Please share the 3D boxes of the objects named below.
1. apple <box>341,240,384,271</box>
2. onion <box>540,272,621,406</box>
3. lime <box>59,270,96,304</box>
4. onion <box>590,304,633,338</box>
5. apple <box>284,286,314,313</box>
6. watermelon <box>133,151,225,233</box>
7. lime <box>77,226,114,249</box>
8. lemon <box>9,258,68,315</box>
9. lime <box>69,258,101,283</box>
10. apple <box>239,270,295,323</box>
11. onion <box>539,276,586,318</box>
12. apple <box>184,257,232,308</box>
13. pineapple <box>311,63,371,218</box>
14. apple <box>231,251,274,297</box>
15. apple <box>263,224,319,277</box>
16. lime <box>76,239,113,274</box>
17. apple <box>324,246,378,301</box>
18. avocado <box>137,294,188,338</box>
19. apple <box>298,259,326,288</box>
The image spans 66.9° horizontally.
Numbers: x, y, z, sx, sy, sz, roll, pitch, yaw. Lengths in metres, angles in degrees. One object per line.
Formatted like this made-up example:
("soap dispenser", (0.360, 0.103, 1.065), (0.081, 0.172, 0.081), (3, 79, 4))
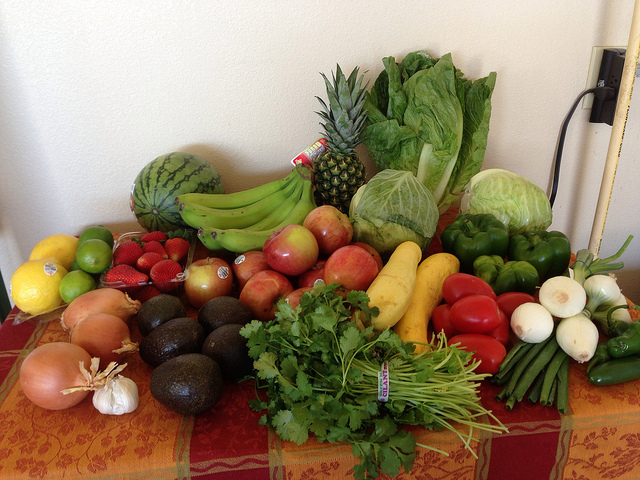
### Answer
("apple", (0.128, 0.030, 1.398), (0.087, 0.095, 0.085), (-21, 8, -29))
("onion", (0.618, 0.204, 1.132), (0.202, 0.310, 0.183), (0, 23, 5))
("lime", (-0.649, 0.124, 1.330), (0.085, 0.095, 0.086), (-3, -3, -1))
("onion", (0.710, 0.198, 1.180), (0.040, 0.055, 0.041), (-36, 18, 16))
("apple", (-0.050, 0.142, 1.202), (0.059, 0.056, 0.052), (-17, 5, -14))
("watermelon", (-0.444, -0.144, 1.517), (0.143, 0.153, 0.181), (44, 29, -7))
("lime", (-0.684, -0.018, 1.475), (0.073, 0.073, 0.093), (-15, 68, -35))
("lemon", (-0.773, 0.130, 1.329), (0.130, 0.096, 0.117), (-4, 38, -4))
("lime", (-0.665, 0.088, 1.387), (0.070, 0.077, 0.089), (3, 31, -25))
("apple", (-0.137, 0.143, 1.334), (0.121, 0.127, 0.126), (32, 66, 18))
("onion", (0.585, 0.136, 1.223), (0.111, 0.092, 0.116), (0, 20, 6))
("apple", (-0.300, 0.110, 1.322), (0.114, 0.120, 0.122), (-12, 31, -13))
("pineapple", (0.069, -0.315, 1.550), (0.136, 0.466, 0.198), (-9, 28, -27))
("apple", (-0.198, 0.081, 1.411), (0.105, 0.124, 0.121), (14, 24, 32))
("apple", (-0.079, 0.030, 1.313), (0.143, 0.116, 0.098), (6, 38, 9))
("lime", (-0.618, 0.043, 1.329), (0.083, 0.095, 0.104), (-1, 21, -21))
("apple", (0.075, 0.071, 1.274), (0.126, 0.128, 0.178), (0, 19, 4))
("avocado", (-0.387, 0.159, 1.252), (0.117, 0.100, 0.181), (-8, 21, -18))
("apple", (-0.020, 0.080, 1.324), (0.058, 0.062, 0.061), (-16, 21, 9))
